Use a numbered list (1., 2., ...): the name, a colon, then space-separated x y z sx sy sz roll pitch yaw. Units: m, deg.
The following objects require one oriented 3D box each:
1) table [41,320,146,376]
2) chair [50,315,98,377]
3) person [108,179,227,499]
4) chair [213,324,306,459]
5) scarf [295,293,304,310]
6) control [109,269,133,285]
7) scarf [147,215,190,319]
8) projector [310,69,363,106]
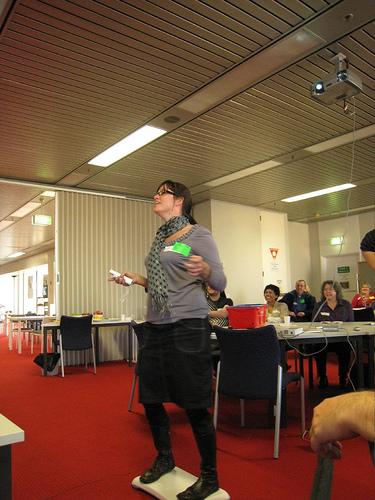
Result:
1. table: -1.828 1.723 6.955 1.549 0.718 0.767 -1 -5 -8
2. chair: -1.896 1.484 6.319 0.697 0.899 0.698 7 14 8
3. person: -0.043 0.405 1.938 0.395 1.660 0.663 5 -11 -37
4. chair: 0.518 0.971 2.758 0.534 0.804 0.599 -5 -9 35
5. scarf: 2.104 0.981 7.024 0.137 0.266 0.163 2 -9 -21
6. control: -0.392 0.154 2.174 0.092 0.102 0.309 2 -9 -22
7. scarf: -0.096 0.072 1.962 0.233 0.563 0.203 -2 -8 0
8. projector: 1.503 -1.634 3.740 0.294 0.133 0.393 12 -13 -36
